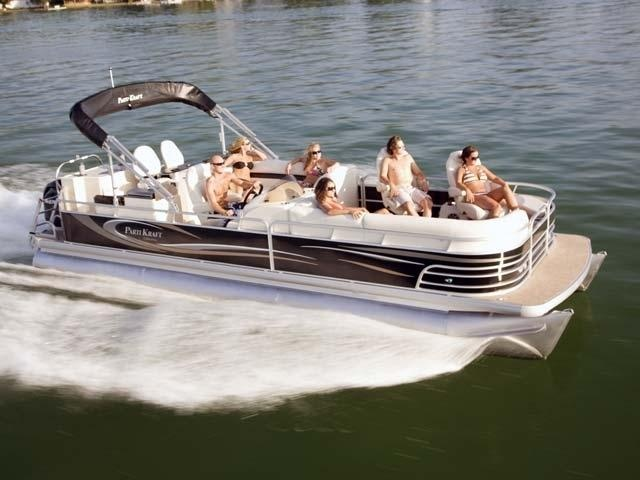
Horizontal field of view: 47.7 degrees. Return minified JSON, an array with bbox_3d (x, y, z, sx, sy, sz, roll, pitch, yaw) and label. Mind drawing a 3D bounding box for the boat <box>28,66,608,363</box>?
[{"bbox_3d":[-1.928,-0.291,10.652,11.079,2.302,3.191,6,24,15],"label":"boat"}]
